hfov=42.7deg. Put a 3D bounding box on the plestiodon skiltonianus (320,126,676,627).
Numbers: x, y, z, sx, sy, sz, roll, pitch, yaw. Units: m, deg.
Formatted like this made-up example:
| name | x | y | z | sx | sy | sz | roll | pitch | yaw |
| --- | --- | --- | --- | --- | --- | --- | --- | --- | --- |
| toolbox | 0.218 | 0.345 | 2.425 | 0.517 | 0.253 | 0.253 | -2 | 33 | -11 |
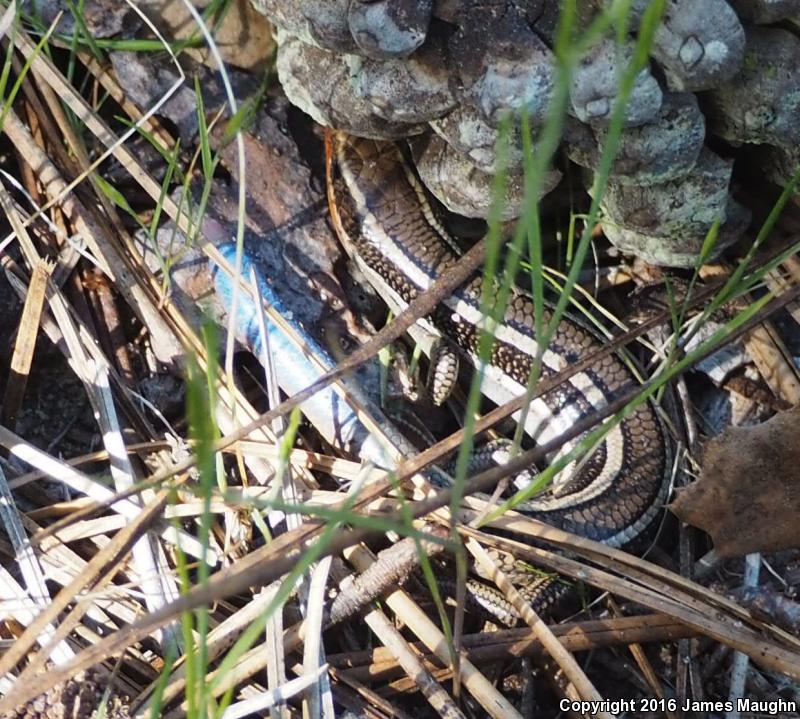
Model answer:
| name | x | y | z | sx | sy | sz | roll | pitch | yaw |
| --- | --- | --- | --- | --- | --- | --- | --- | --- | --- |
| plestiodon skiltonianus | 0.332 | -0.144 | 4.188 | 1.026 | 0.536 | 1.997 | -28 | 85 | -9 |
